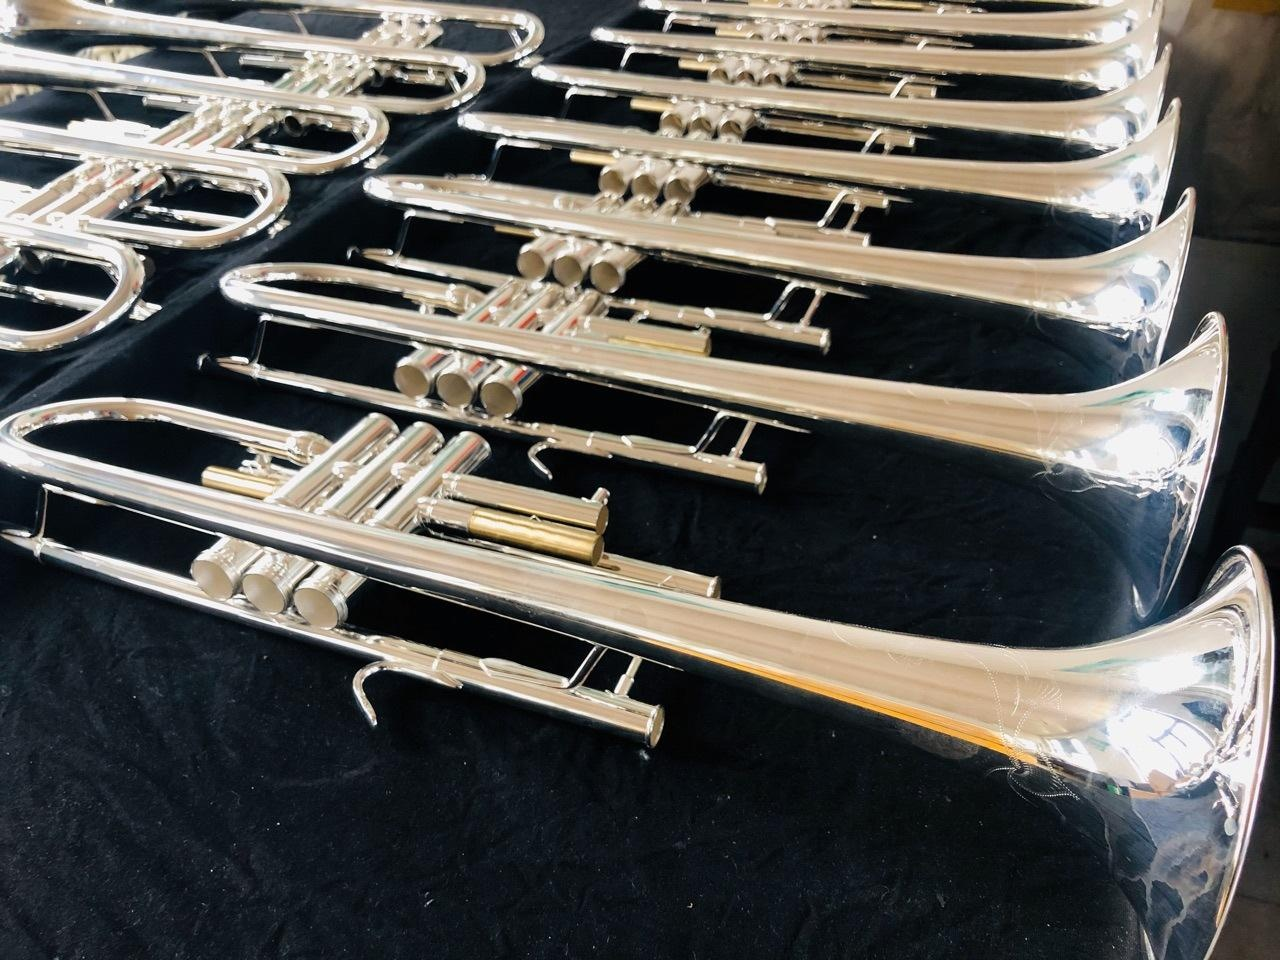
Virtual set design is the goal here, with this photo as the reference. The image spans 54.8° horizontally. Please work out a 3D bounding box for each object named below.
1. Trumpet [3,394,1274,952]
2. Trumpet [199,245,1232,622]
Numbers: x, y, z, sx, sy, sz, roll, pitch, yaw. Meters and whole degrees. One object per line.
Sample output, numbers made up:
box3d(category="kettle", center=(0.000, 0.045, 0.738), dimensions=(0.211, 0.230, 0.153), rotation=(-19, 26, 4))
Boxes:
box3d(category="Trumpet", center=(-0.056, 0.076, 1.607), dimensions=(1.694, 0.507, 0.487), rotation=(17, 45, 11))
box3d(category="Trumpet", center=(0.011, -0.094, 1.797), dimensions=(1.492, 0.448, 0.450), rotation=(10, 31, 9))
